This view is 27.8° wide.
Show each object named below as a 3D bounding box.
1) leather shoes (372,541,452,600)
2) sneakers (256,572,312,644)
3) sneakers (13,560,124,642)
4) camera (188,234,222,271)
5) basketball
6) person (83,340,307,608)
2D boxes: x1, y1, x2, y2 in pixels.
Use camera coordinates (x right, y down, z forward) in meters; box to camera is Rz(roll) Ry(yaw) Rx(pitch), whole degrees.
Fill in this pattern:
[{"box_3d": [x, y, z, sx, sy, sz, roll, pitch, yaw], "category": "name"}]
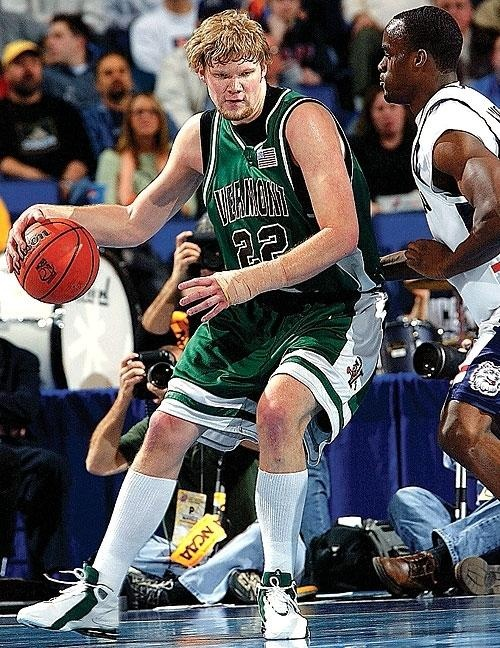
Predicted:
[{"box_3d": [0.647, 0.942, 3.855, 0.377, 0.132, 0.166, 23, -67, -28], "category": "leather shoes"}, {"box_3d": [0.083, 0.728, 2.615, 0.142, 0.172, 0.141, -5, -19, 11], "category": "sneakers"}, {"box_3d": [-0.476, 0.739, 2.698, 0.280, 0.178, 0.099, 10, -17, -30], "category": "sneakers"}, {"box_3d": [-0.195, -0.345, 4.810, 0.196, 0.165, 0.170, 1, -44, -1], "category": "camera"}, {"box_3d": [-0.533, -0.193, 2.989, 0.254, 0.263, 0.263, 15, 12, 38], "category": "basketball"}, {"box_3d": [-0.225, 0.562, 4.034, 0.840, 1.042, 0.810, 6, -10, -32], "category": "person"}]
